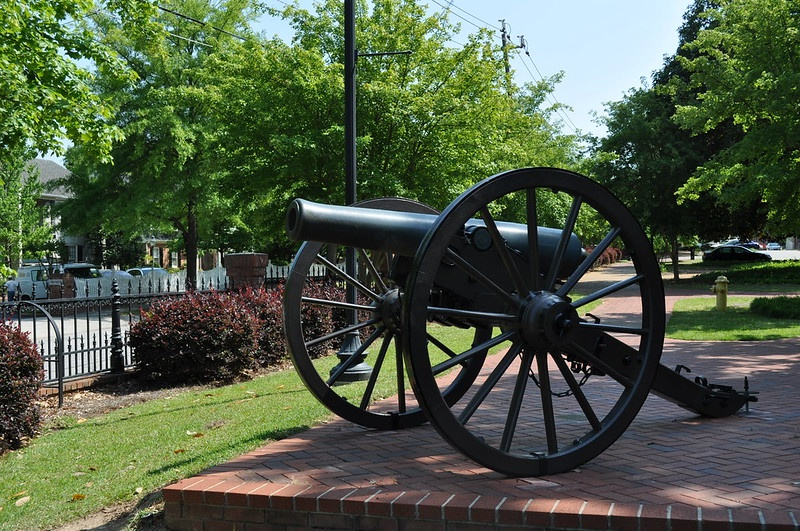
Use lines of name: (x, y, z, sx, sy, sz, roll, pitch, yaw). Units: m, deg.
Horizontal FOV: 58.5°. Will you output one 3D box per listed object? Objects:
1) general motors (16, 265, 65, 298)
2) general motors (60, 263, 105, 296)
general motors: (-13.288, 0.634, 26.255, 2.391, 1.347, 1.401, 0, 2, 1)
general motors: (-11.982, 0.549, 26.760, 1.155, 0.899, 1.844, 1, 4, 6)
